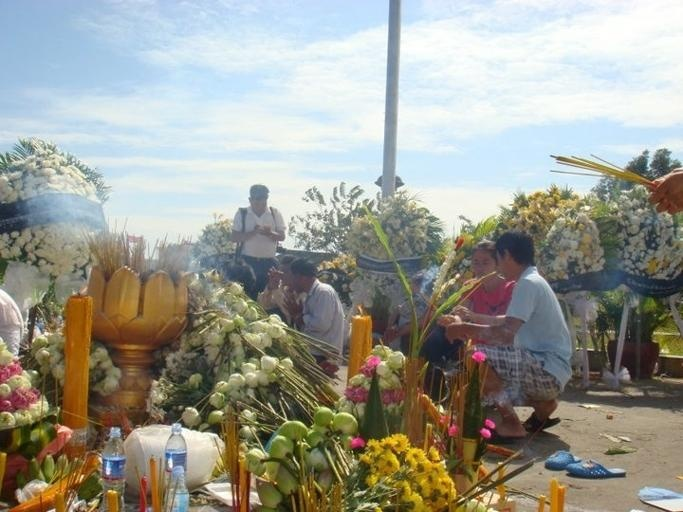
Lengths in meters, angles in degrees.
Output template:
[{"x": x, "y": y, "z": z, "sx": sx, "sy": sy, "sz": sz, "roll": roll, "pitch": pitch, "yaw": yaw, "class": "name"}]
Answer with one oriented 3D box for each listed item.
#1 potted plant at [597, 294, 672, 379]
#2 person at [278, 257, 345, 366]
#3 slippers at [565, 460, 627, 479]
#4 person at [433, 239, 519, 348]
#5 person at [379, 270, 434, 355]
[{"x": 4.555, "y": 1.258, "z": 8.702, "sx": 0.723, "sy": 1.723, "sz": 0.881, "roll": -7, "pitch": 16, "yaw": -9, "class": "potted plant"}, {"x": -0.314, "y": 0.543, "z": 5.606, "sx": 0.505, "sy": 0.680, "sz": 1.453, "roll": -9, "pitch": 27, "yaw": -11, "class": "person"}, {"x": 1.815, "y": 1.535, "z": 3.978, "sx": 0.331, "sy": 0.099, "sz": 0.155, "roll": 3, "pitch": -9, "yaw": -7, "class": "slippers"}, {"x": 1.532, "y": 0.295, "z": 5.861, "sx": 0.593, "sy": 0.356, "sz": 0.852, "roll": -14, "pitch": -43, "yaw": 1, "class": "person"}, {"x": 0.640, "y": 0.558, "z": 5.551, "sx": 0.399, "sy": 0.421, "sz": 1.375, "roll": 12, "pitch": -19, "yaw": 3, "class": "person"}]
